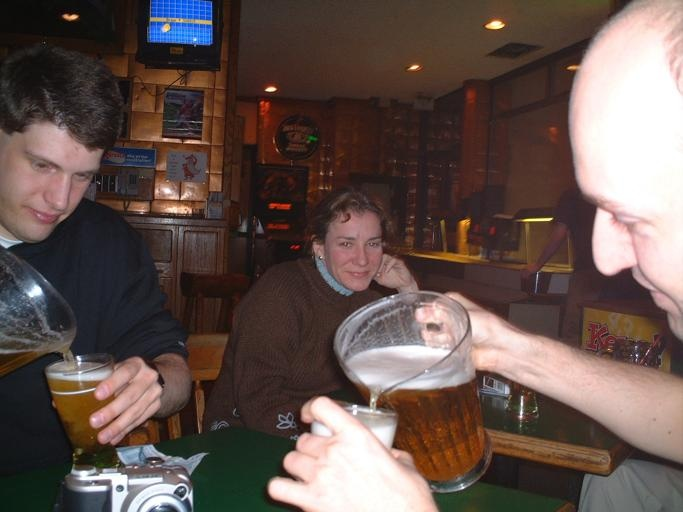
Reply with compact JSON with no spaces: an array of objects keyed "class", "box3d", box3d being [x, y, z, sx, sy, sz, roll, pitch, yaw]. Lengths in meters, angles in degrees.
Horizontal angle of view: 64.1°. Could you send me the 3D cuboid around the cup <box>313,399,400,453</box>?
[{"class":"cup","box3d":[0.031,0.307,1.088,0.128,0.088,0.125,6,1,0]}]
